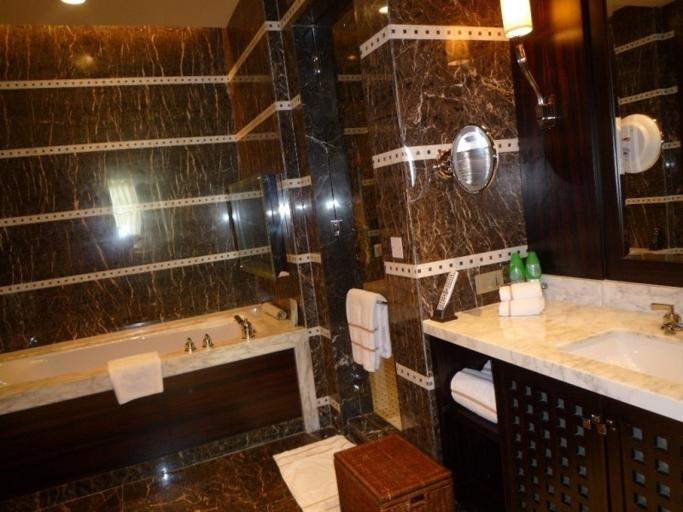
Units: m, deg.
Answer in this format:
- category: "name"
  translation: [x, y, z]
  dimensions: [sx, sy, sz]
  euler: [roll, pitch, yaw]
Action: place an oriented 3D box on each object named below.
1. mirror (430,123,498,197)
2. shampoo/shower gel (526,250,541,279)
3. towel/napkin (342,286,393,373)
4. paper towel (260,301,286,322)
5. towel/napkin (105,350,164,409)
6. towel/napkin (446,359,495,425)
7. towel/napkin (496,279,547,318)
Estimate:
- category: "mirror"
  translation: [0.619, -0.488, 2.489]
  dimensions: [0.322, 0.326, 0.167]
  euler: [0, 13, 23]
- category: "shampoo/shower gel"
  translation: [1.005, 0.052, 2.586]
  dimensions: [0.069, 0.145, 0.056]
  euler: [0, 12, 22]
- category: "towel/napkin"
  translation: [0.161, 0.435, 2.979]
  dimensions: [0.149, 0.452, 0.402]
  euler: [-11, 13, -28]
- category: "paper towel"
  translation: [-0.549, 0.437, 3.987]
  dimensions: [0.083, 0.094, 0.302]
  euler: [-26, 35, -37]
- category: "towel/napkin"
  translation: [-1.328, 0.793, 3.227]
  dimensions: [0.318, 0.239, 0.180]
  euler: [-11, 13, -25]
- category: "towel/napkin"
  translation: [0.634, 0.657, 2.379]
  dimensions: [0.100, 0.255, 0.234]
  euler: [-17, 12, -33]
- category: "towel/napkin"
  translation: [0.914, 0.205, 2.514]
  dimensions: [0.205, 0.152, 0.219]
  euler: [-1, 13, 20]
